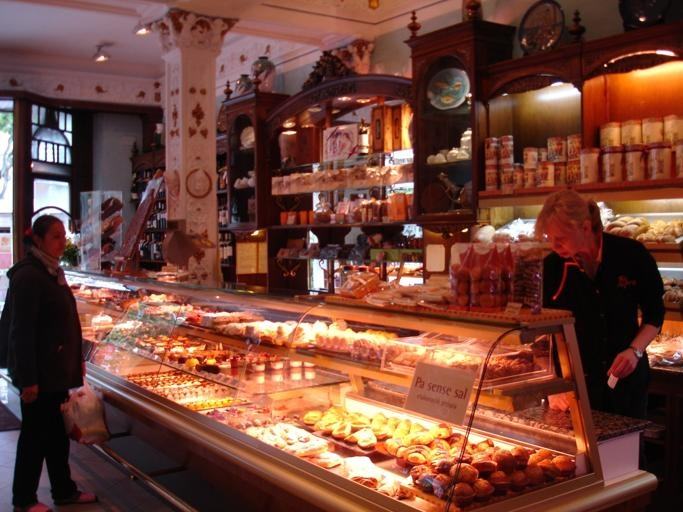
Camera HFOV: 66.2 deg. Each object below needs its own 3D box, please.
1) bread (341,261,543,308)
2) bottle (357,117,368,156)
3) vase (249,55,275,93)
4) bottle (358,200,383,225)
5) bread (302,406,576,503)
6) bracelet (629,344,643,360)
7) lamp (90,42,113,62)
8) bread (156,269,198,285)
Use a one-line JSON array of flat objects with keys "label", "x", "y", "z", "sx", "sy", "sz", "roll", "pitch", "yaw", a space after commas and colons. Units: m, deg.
[{"label": "bread", "x": 0.411, "y": 0.113, "z": 2.256, "sx": 0.261, "sy": 0.228, "sz": 0.900, "roll": -4, "pitch": 4, "yaw": -37}, {"label": "bottle", "x": 0.245, "y": -1.258, "z": 5.618, "sx": 0.120, "sy": 0.385, "sz": 0.185, "roll": -2, "pitch": 3, "yaw": 3}, {"label": "vase", "x": -1.036, "y": -2.431, "z": 7.028, "sx": 0.271, "sy": 0.401, "sz": 0.249, "roll": -5, "pitch": 35, "yaw": -22}, {"label": "bottle", "x": 0.320, "y": -0.438, "z": 5.457, "sx": 0.137, "sy": 0.236, "sz": 0.248, "roll": -4, "pitch": 8, "yaw": -37}, {"label": "bread", "x": 0.347, "y": 0.735, "z": 2.193, "sx": 0.493, "sy": 0.238, "sz": 1.054, "roll": -5, "pitch": 5, "yaw": -41}, {"label": "bracelet", "x": 1.335, "y": 0.433, "z": 2.382, "sx": 0.054, "sy": 0.035, "sz": 0.062, "roll": 37, "pitch": -12, "yaw": -29}, {"label": "lamp", "x": -4.119, "y": -3.491, "z": 9.021, "sx": 0.350, "sy": 0.173, "sz": 0.482, "roll": -9, "pitch": 19, "yaw": -21}, {"label": "bread", "x": -1.562, "y": 0.201, "z": 4.837, "sx": 0.322, "sy": 0.105, "sz": 0.316, "roll": 1, "pitch": 4, "yaw": -38}]
